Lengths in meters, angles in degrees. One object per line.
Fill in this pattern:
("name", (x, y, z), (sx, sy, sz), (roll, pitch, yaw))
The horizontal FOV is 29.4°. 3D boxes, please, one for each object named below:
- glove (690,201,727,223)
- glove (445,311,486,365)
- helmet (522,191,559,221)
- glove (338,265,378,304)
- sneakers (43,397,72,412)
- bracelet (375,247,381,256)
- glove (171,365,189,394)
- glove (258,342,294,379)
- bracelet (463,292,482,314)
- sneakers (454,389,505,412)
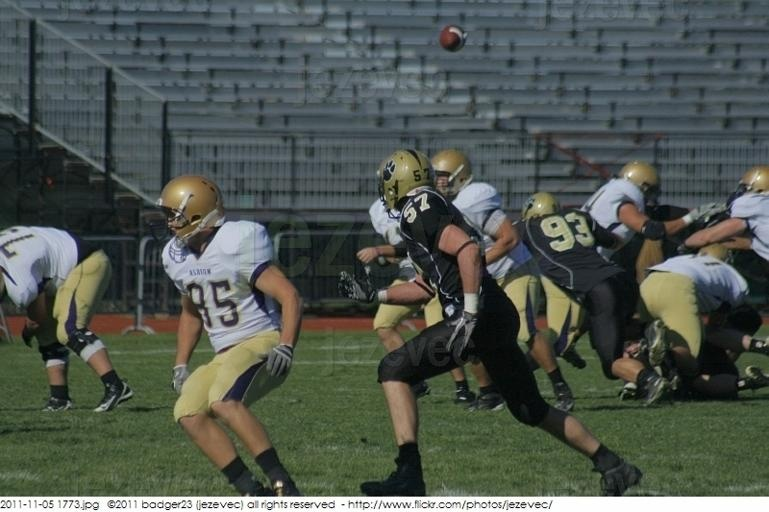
("glove", (4.549, -0.578, 20.650), (0.386, 0.155, 0.302), (-13, 8, 37))
("glove", (1.032, 0.926, 17.685), (0.343, 0.367, 1.083), (6, 23, -10))
("helmet", (2.191, -0.703, 20.906), (0.476, 0.430, 0.364), (0, -12, 20))
("glove", (-0.196, 0.340, 18.608), (0.597, 0.324, 0.781), (-7, 8, -20))
("sneakers", (-4.374, 2.001, 19.665), (0.451, 0.181, 0.142), (3, -5, -11))
("bracelet", (-0.091, -0.064, 19.402), (0.076, 0.093, 0.037), (-14, 17, -23))
("glove", (-2.488, 1.512, 18.061), (0.233, 0.301, 0.153), (-3, -12, 43))
("glove", (-1.266, 1.256, 17.552), (0.308, 0.389, 0.192), (30, 0, 7))
("bracelet", (1.031, 0.576, 17.715), (0.237, 0.222, 0.221), (0, 7, -9))
("sneakers", (1.279, 1.960, 19.947), (0.663, 0.258, 0.226), (1, -4, -5))
